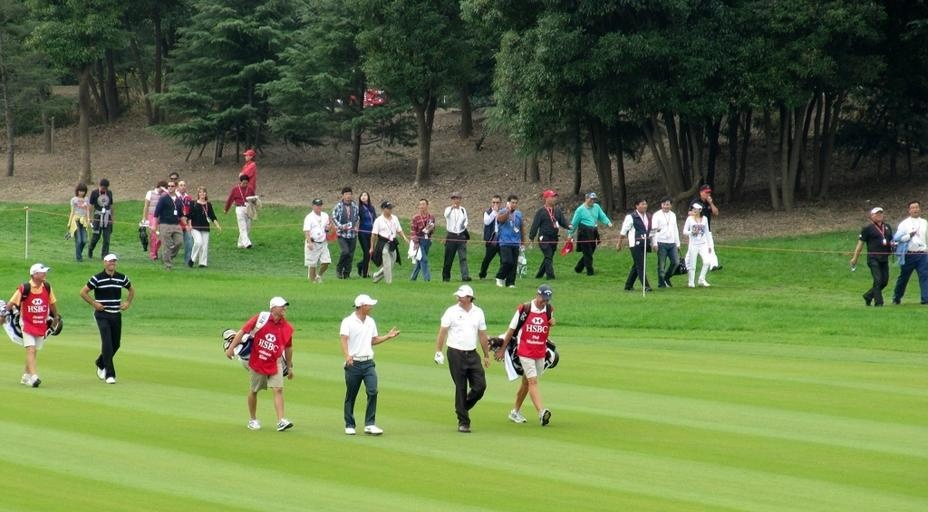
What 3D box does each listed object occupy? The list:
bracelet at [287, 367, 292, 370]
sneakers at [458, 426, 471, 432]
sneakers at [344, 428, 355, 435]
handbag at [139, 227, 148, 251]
[{"bbox_3d":[-7.821,5.009,69.091,0.245,0.126,0.148,1,-23,-4],"label":"bracelet"},{"bbox_3d":[-0.023,7.692,68.809,0.268,0.206,0.516,1,-5,-31],"label":"sneakers"},{"bbox_3d":[-5.103,7.749,68.554,0.244,0.258,0.433,2,-5,-43],"label":"sneakers"},{"bbox_3d":[-17.805,-0.984,86.021,0.444,1.256,0.708,0,3,-12],"label":"handbag"}]
